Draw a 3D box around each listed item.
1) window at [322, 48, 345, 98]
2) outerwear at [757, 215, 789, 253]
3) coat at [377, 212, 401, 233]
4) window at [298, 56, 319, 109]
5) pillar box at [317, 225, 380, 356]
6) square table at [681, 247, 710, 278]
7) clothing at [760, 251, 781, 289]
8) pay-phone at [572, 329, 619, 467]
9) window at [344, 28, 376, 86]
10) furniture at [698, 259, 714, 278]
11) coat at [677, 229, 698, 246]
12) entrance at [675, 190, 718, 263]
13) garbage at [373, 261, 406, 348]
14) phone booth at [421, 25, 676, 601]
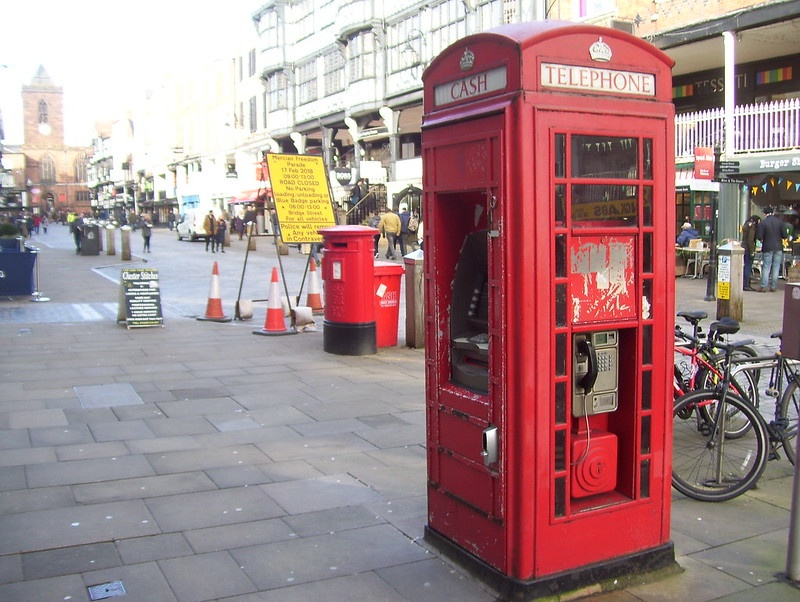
[{"bbox_3d":[-3.773,-13.075,42.548,0.384,3.311,2.816,-5,12,-26],"label":"window"},{"bbox_3d":[9.029,-1.631,17.945,0.685,0.894,0.338,0,5,-9],"label":"outerwear"},{"bbox_3d":[-0.367,-2.836,26.829,0.714,0.771,0.624,3,5,27],"label":"coat"},{"bbox_3d":[-5.586,-13.474,45.636,0.396,3.462,3.159,-6,12,-29],"label":"window"},{"bbox_3d":[-0.718,-0.209,10.910,0.722,1.807,0.815,-4,4,-37],"label":"pillar box"},{"bbox_3d":[8.542,-1.228,21.246,0.941,1.076,1.006,0,0,15],"label":"square table"},{"bbox_3d":[9.091,-0.746,18.077,0.472,0.944,0.473,1,5,7],"label":"clothing"},{"bbox_3d":[1.207,0.435,4.691,0.337,0.589,0.275,-11,14,-32],"label":"pay-phone"},{"bbox_3d":[-2.032,-12.827,38.889,0.731,3.046,3.162,0,-1,-30],"label":"window"},{"bbox_3d":[8.724,-0.934,21.205,0.223,0.460,0.865,3,5,28],"label":"furniture"},{"bbox_3d":[8.389,-1.864,21.528,0.373,0.523,0.922,1,5,-1],"label":"coat"},{"bbox_3d":[9.763,-2.758,24.223,1.709,2.031,1.795,2,0,31],"label":"entrance"},{"bbox_3d":[-0.240,0.047,11.069,0.431,1.288,0.462,-2,16,-26],"label":"garbage"},{"bbox_3d":[0.953,-0.079,4.789,1.028,3.645,1.588,1,7,-19],"label":"phone booth"}]
